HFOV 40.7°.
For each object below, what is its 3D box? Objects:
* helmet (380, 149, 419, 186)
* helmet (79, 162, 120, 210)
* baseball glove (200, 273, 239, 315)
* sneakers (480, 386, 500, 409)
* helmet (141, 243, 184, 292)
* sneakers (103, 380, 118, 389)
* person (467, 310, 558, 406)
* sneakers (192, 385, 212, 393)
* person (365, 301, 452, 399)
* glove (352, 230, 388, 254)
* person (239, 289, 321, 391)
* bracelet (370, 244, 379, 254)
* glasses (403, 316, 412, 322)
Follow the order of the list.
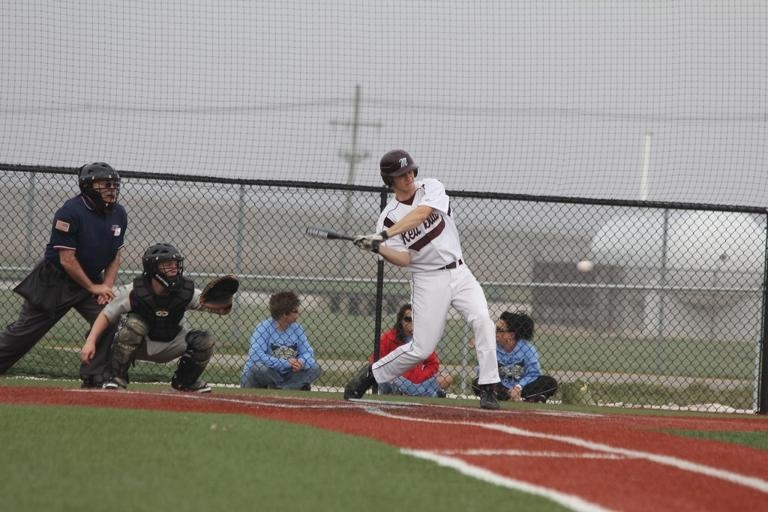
[{"bbox_3d":[0.166,-1.019,11.570,0.387,0.281,0.512,-17,10,-28],"label":"helmet"},{"bbox_3d":[-3.183,-0.769,11.518,0.432,0.508,0.181,9,-3,-16],"label":"helmet"},{"bbox_3d":[-1.816,0.426,11.419,0.303,0.501,0.160,40,-7,-19],"label":"baseball glove"},{"bbox_3d":[1.160,1.558,11.401,0.250,0.215,0.171,6,-3,23],"label":"sneakers"},{"bbox_3d":[-2.371,0.107,11.405,0.428,0.467,0.497,-5,2,-30],"label":"helmet"},{"bbox_3d":[-2.997,1.412,11.363,0.159,0.100,0.163,9,-4,-21],"label":"sneakers"},{"bbox_3d":[1.692,1.354,13.098,1.544,1.494,0.980,-3,-5,3],"label":"person"},{"bbox_3d":[-2.036,1.504,11.619,0.211,0.095,0.076,4,0,-1],"label":"sneakers"},{"bbox_3d":[0.259,1.229,12.739,0.918,1.139,0.717,5,-7,-13],"label":"person"},{"bbox_3d":[-0.149,-0.141,11.266,0.265,0.129,0.290,-5,-32,-12],"label":"glove"},{"bbox_3d":[-1.249,1.145,13.030,1.013,1.295,0.920,2,2,-4],"label":"person"},{"bbox_3d":[-0.096,-0.068,11.187,0.066,0.075,0.083,1,-4,-9],"label":"bracelet"},{"bbox_3d":[0.290,0.772,12.463,0.077,0.058,0.078,-2,0,-35],"label":"glasses"}]
